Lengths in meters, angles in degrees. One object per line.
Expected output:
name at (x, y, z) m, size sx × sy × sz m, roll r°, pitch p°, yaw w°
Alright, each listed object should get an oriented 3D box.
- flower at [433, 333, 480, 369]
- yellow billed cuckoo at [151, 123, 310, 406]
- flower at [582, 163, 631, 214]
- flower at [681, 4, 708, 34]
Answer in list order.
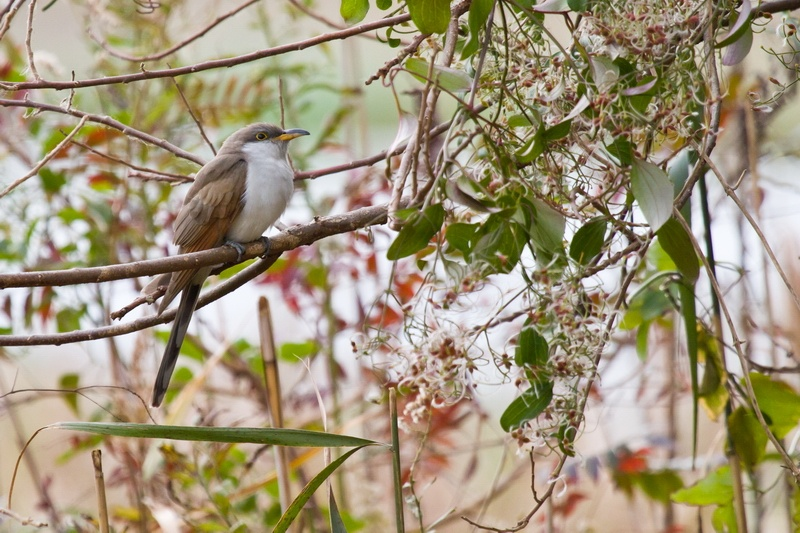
flower at (0.149, 0.238, 2.921) m, size 0.101 × 0.108 × 0.042 m, roll -16°, pitch -12°, yaw -20°
yellow billed cuckoo at (-0.607, -0.105, 3.746) m, size 0.566 × 1.335 × 0.405 m, roll 7°, pitch -45°, yaw -14°
flower at (0.604, -0.234, 3.018) m, size 0.106 × 0.149 × 0.055 m, roll -30°, pitch -75°, yaw 20°
flower at (0.846, -0.706, 2.965) m, size 0.066 × 0.090 × 0.032 m, roll 13°, pitch -13°, yaw 27°
